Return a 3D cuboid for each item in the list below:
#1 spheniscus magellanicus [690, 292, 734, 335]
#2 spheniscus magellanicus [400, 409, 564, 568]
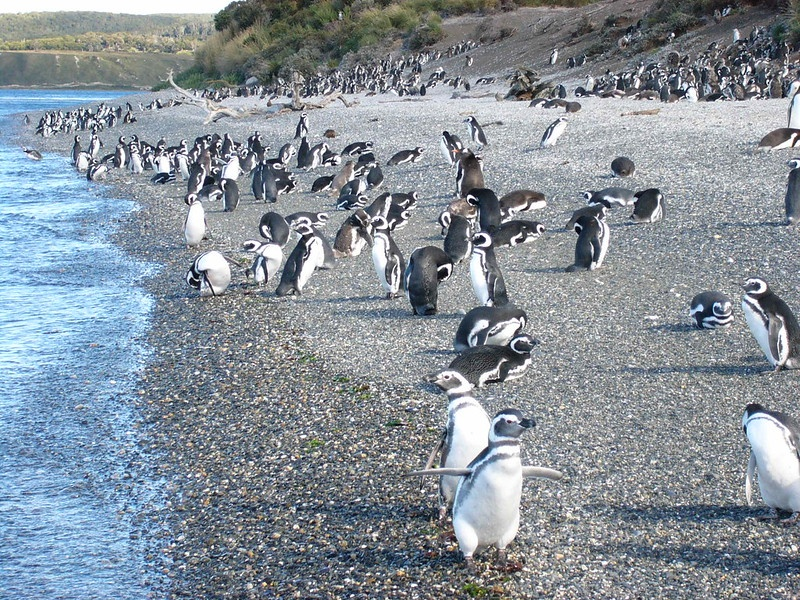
[{"bbox_3d":[4.272,0.162,14.918,0.591,0.504,0.303,8,15,23],"label":"spheniscus magellanicus"},{"bbox_3d":[0.991,2.054,11.762,1.048,1.811,0.276,2,15,1],"label":"spheniscus magellanicus"}]
